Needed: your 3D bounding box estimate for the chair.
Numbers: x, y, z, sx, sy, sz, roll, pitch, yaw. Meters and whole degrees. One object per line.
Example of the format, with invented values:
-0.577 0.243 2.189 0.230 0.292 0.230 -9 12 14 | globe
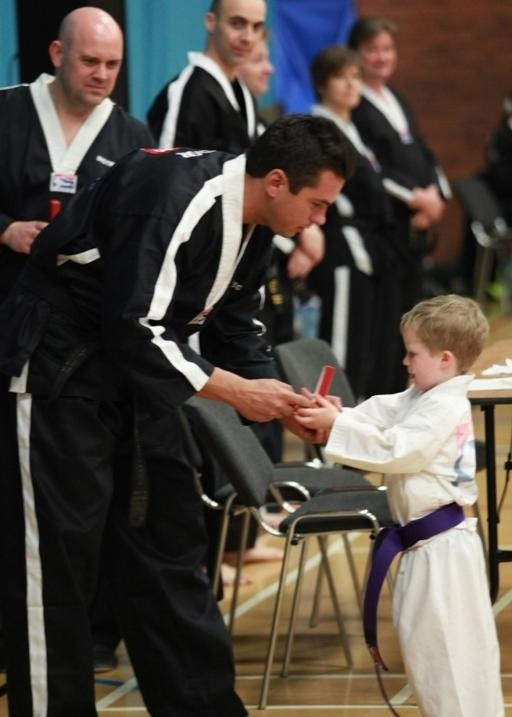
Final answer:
0.084 0.361 2.374 0.992 1.155 0.772 -2 2 19 | chair
